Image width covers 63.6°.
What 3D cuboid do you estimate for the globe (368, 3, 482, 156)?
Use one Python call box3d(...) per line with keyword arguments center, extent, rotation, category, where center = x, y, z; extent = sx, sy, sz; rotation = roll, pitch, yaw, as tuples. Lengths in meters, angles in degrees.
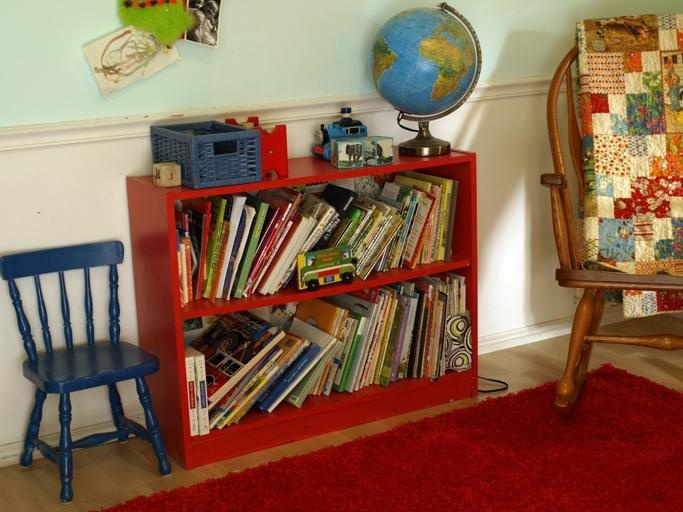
box3d(center=(0.316, -0.660, 2.087), extent=(0.310, 0.556, 0.329), rotation=(13, 22, 39), category="globe")
